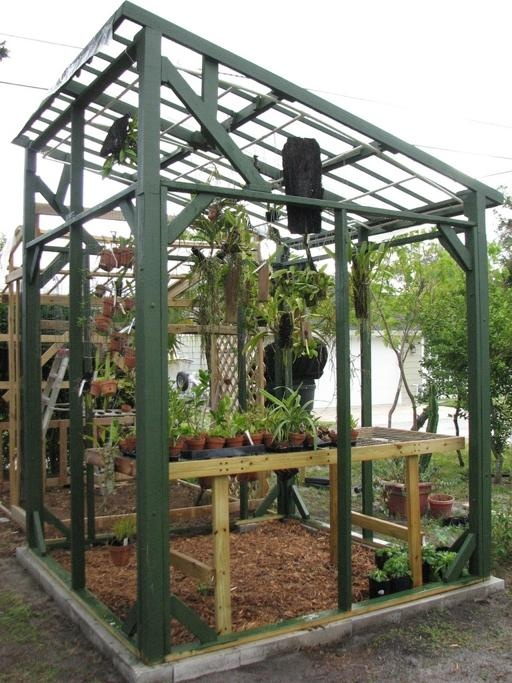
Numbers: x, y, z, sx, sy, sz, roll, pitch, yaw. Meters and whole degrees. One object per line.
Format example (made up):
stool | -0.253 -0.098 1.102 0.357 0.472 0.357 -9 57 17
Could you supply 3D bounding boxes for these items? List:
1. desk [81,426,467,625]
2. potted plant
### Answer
desk | 0.180 1.005 3.490 1.792 0.875 0.760 0 -4 -28
potted plant | 0.292 0.229 3.233 2.075 2.375 0.848 0 10 -38
